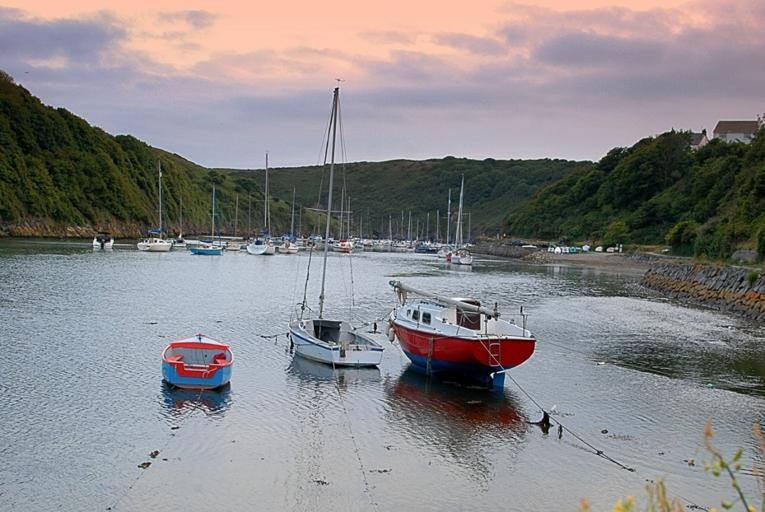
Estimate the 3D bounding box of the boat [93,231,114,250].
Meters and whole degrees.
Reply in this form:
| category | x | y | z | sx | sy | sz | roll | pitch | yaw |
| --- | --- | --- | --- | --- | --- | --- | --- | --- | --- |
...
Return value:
| category | x | y | z | sx | sy | sz | roll | pitch | yaw |
| --- | --- | --- | --- | --- | --- | --- | --- | --- | --- |
| boat | -44.418 | -2.340 | 109.041 | 3.089 | 2.221 | 6.277 | -2 | 3 | -18 |
